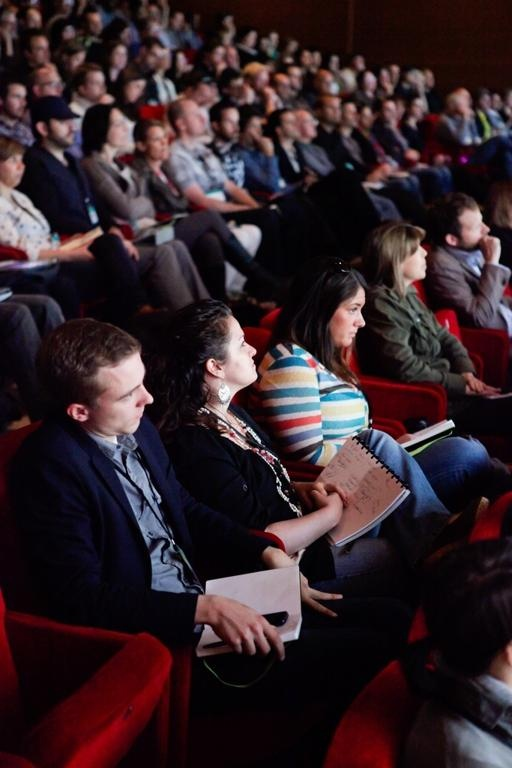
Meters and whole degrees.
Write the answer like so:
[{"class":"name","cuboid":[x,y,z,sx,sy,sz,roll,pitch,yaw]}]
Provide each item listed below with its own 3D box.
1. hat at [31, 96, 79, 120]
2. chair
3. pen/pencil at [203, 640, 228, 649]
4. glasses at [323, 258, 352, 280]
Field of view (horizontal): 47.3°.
[{"class":"hat","cuboid":[-0.630,-0.847,1.811,0.102,0.049,0.073,-11,26,-3]},{"class":"chair","cuboid":[-0.083,0.134,1.527,0.975,1.162,0.608,-17,14,-7]},{"class":"pen/pencil","cuboid":[-0.070,0.453,1.017,0.059,0.006,0.013,-11,33,20]},{"class":"glasses","cuboid":[0.266,-0.379,1.892,0.080,0.059,0.031,6,-2,-32]}]
